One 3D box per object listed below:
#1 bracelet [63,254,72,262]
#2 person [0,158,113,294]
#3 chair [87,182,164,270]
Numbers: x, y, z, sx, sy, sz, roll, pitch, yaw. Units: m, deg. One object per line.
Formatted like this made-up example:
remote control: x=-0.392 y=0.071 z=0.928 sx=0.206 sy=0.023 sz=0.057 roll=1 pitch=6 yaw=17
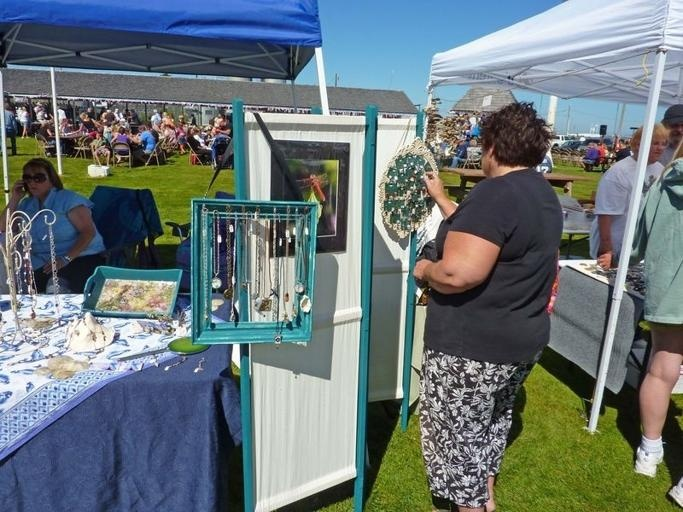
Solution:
bracelet: x=-2.100 y=0.011 z=4.573 sx=0.045 sy=0.048 sz=0.011 roll=14 pitch=-18 yaw=-23
person: x=-2.192 y=-0.222 z=4.561 sx=0.685 sy=1.033 sz=0.527 roll=-5 pitch=12 yaw=-23
chair: x=-1.917 y=-0.284 z=5.455 sx=0.581 sy=0.804 sz=0.283 roll=6 pitch=9 yaw=8
